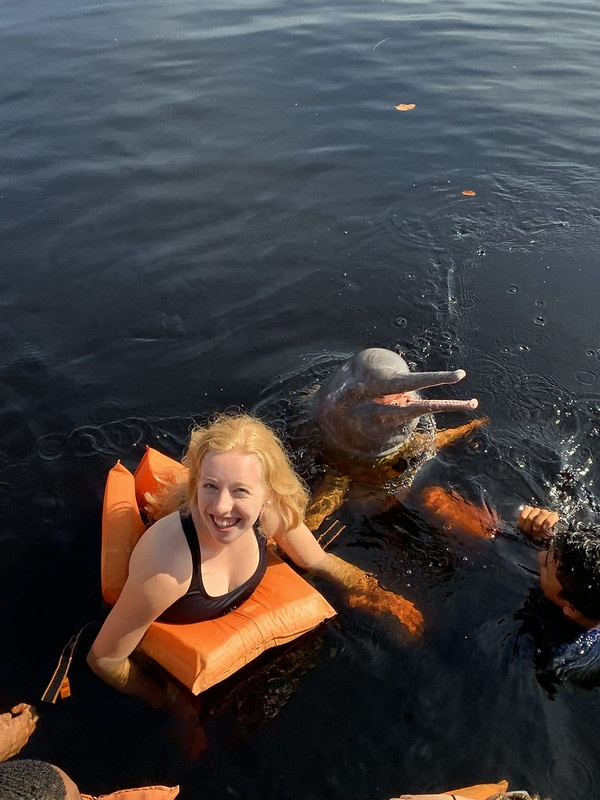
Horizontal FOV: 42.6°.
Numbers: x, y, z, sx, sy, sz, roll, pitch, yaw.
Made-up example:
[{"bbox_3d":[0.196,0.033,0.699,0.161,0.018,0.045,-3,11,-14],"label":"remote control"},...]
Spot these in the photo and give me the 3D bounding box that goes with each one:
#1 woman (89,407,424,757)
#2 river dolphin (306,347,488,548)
[{"bbox_3d":[-0.461,1.053,5.021,1.946,1.662,1.366,-23,48,-30],"label":"woman"},{"bbox_3d":[1.055,0.126,6.314,1.528,1.583,1.448,-11,37,-23],"label":"river dolphin"}]
